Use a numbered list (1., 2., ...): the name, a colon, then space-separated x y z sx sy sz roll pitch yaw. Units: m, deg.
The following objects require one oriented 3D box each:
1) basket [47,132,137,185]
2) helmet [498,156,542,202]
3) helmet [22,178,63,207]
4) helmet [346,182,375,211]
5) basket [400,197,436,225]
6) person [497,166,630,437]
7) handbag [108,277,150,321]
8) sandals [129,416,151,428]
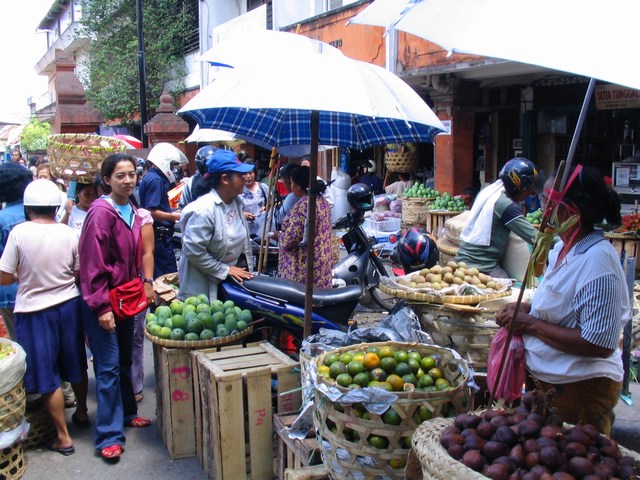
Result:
1. basket: -2.548 -0.905 6.504 0.751 0.392 0.913 7 8 -11
2. helmet: 1.678 -0.512 4.968 0.359 0.387 0.300 -4 29 -9
3. helmet: -2.338 -0.404 4.985 0.244 0.177 0.249 -7 20 -36
4. helmet: 0.501 -0.568 7.711 0.336 0.323 0.275 8 15 38
5. basket: 1.783 -0.550 11.028 0.447 0.514 0.473 -1 4 -10
6. person: 1.421 0.267 3.530 0.810 1.504 0.767 -8 17 -38
7. handbag: -1.552 0.479 4.903 0.272 0.294 0.267 -12 19 -43
8. sandals: -1.604 1.611 5.335 0.152 0.073 0.089 -5 1 19
